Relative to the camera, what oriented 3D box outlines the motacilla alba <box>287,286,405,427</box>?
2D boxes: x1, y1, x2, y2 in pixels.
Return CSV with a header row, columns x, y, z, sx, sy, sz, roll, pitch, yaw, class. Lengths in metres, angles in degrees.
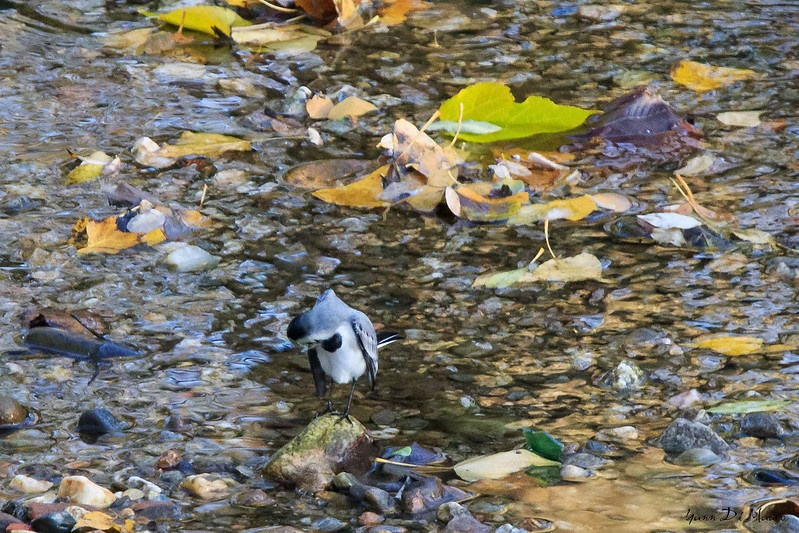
x,y,z,sx,sy,sz,roll,pitch,yaw,class
-0.300,0.373,4.692,0.380,0.505,0.358,-6,39,-4,motacilla alba
